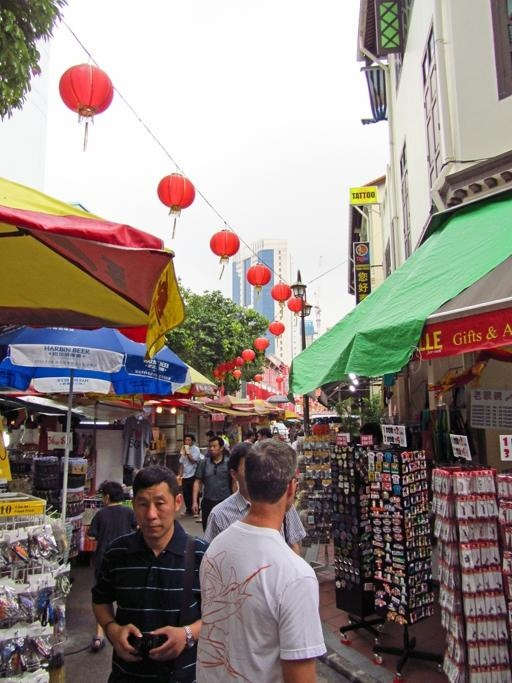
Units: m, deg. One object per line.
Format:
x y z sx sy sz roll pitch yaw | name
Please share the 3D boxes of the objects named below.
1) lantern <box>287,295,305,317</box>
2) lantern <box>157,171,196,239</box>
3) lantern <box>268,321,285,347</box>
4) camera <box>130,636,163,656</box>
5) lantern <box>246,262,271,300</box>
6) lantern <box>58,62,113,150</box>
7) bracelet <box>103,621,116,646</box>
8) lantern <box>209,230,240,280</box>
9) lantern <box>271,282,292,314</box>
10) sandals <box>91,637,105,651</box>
0.984 -0.956 14.221 0.444 0.506 0.455 -1 -4 -4 | lantern
-1.079 -1.797 7.366 0.454 0.922 0.445 4 4 -3 | lantern
0.677 -0.426 18.779 0.540 0.605 0.586 -4 -6 28 | lantern
-0.484 1.354 2.444 0.130 0.075 0.047 -1 -8 -3 | camera
0.074 -1.392 12.106 0.601 0.665 0.598 0 -1 2 | lantern
-1.699 -2.353 5.601 0.582 0.933 0.469 -9 -11 42 | lantern
-0.671 1.380 2.567 0.052 0.122 0.087 0 1 -3 | bracelet
-0.532 -1.478 9.367 0.473 0.911 0.462 2 1 6 | lantern
0.649 -1.206 13.783 0.509 0.561 0.531 0 1 3 | lantern
-1.481 2.853 5.177 0.064 0.073 0.175 3 -6 1 | sandals
